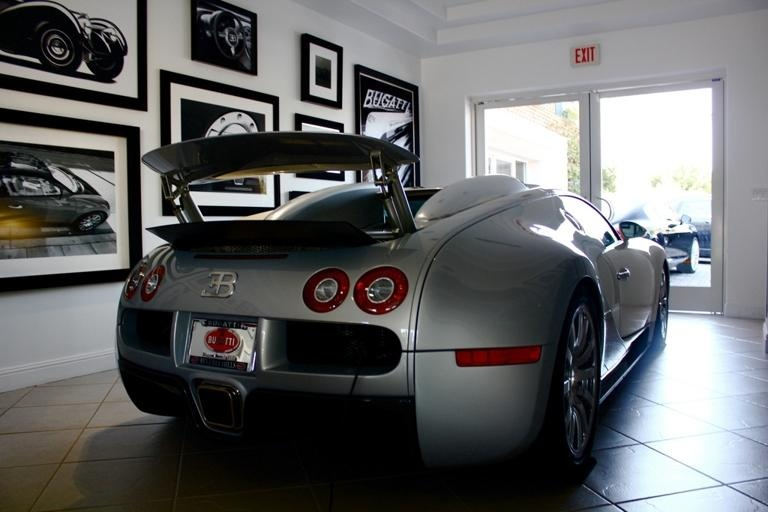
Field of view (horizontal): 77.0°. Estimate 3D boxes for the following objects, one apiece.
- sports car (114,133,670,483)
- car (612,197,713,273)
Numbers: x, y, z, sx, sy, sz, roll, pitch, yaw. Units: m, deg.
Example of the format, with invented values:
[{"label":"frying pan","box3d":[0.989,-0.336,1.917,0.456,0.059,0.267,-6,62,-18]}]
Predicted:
[{"label":"sports car","box3d":[0.471,0.164,3.912,2.627,1.556,4.281,-2,2,30]},{"label":"car","box3d":[3.597,-0.363,6.225,1.103,0.663,1.994,1,4,38]}]
